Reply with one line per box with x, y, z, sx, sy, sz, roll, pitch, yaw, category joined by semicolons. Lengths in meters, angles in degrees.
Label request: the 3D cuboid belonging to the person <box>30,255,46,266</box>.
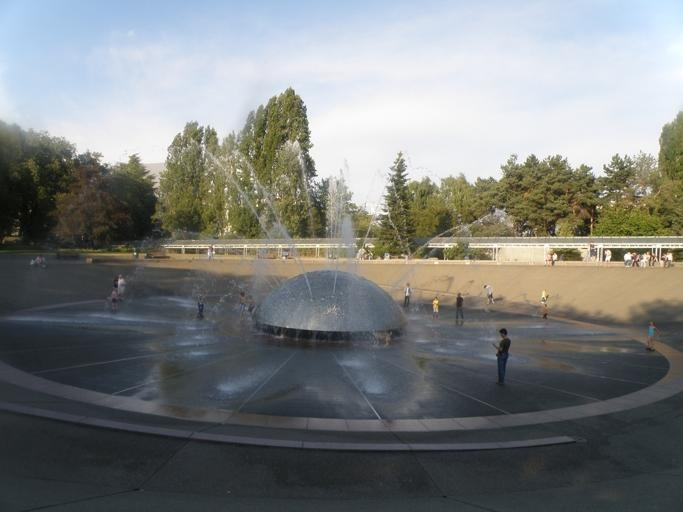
-24.775;0.402;47.768;0.683;0.323;0.724;5;21;-7;person

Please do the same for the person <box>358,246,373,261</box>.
2.718;-0.259;64.306;1.184;0.901;1.618;10;4;-27;person

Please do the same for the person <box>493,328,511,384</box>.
4.921;3.046;17.862;0.348;1.584;0.984;5;12;15;person

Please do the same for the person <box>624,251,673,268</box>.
26.033;0.347;49.405;2.191;0.490;1.204;-5;-31;-6;person
